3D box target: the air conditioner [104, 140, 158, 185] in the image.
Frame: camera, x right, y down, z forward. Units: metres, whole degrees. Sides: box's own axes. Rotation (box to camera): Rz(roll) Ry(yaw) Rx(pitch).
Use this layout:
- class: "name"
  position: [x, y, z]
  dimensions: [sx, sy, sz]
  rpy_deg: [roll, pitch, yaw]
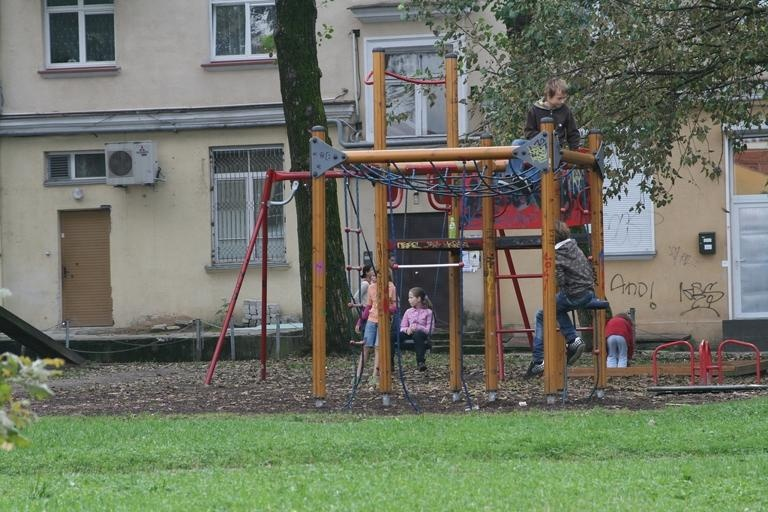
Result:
- class: "air conditioner"
  position: [-6.273, -2.293, 48.586]
  dimensions: [1.170, 1.026, 0.317]
  rpy_deg: [-2, -2, 12]

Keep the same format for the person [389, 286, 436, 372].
- class: "person"
  position: [0.611, 1.587, 42.729]
  dimensions: [0.838, 1.751, 1.059]
  rpy_deg: [-2, -5, 38]

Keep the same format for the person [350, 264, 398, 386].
- class: "person"
  position: [-0.173, 1.493, 41.187]
  dimensions: [0.791, 2.483, 0.873]
  rpy_deg: [0, 0, -3]
